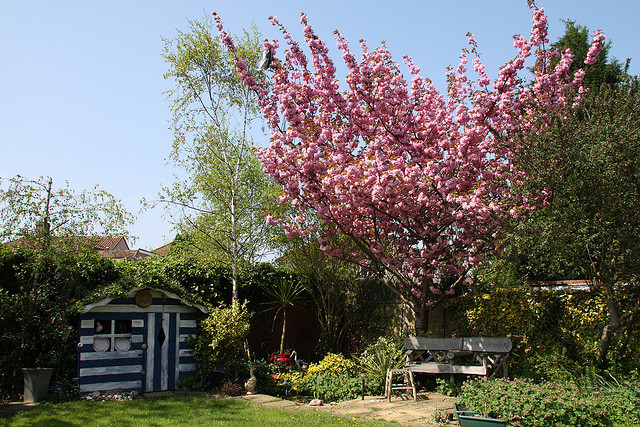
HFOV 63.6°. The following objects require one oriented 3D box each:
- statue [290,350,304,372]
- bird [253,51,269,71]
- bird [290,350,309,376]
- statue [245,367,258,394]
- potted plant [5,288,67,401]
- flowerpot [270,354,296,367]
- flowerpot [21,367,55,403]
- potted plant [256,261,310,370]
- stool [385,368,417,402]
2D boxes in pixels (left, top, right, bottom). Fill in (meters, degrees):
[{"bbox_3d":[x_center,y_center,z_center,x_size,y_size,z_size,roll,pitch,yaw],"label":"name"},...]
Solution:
[{"bbox_3d":[-0.724,4.495,15.830,0.358,0.575,1.409,1,4,-4],"label":"statue"},{"bbox_3d":[-1.366,-3.768,12.655,0.219,0.448,0.360,0,5,-13],"label":"bird"},{"bbox_3d":[-0.518,4.496,15.590,0.644,0.911,0.363,-7,-14,-1],"label":"bird"},{"bbox_3d":[-1.903,4.692,14.329,0.328,0.659,0.563,0,5,-7],"label":"statue"},{"bbox_3d":[-7.295,3.329,13.364,1.196,2.651,1.674,-4,7,-44],"label":"potted plant"},{"bbox_3d":[-1.120,4.543,16.099,0.495,0.594,0.522,-1,-9,20],"label":"flowerpot"},{"bbox_3d":[-7.082,4.314,13.039,0.707,0.937,0.811,7,-16,-30],"label":"flowerpot"},{"bbox_3d":[-1.285,3.125,17.253,1.579,2.905,0.974,0,5,-9],"label":"potted plant"},{"bbox_3d":[2.096,4.538,13.624,0.654,0.705,0.727,0,-20,-2],"label":"stool"}]
